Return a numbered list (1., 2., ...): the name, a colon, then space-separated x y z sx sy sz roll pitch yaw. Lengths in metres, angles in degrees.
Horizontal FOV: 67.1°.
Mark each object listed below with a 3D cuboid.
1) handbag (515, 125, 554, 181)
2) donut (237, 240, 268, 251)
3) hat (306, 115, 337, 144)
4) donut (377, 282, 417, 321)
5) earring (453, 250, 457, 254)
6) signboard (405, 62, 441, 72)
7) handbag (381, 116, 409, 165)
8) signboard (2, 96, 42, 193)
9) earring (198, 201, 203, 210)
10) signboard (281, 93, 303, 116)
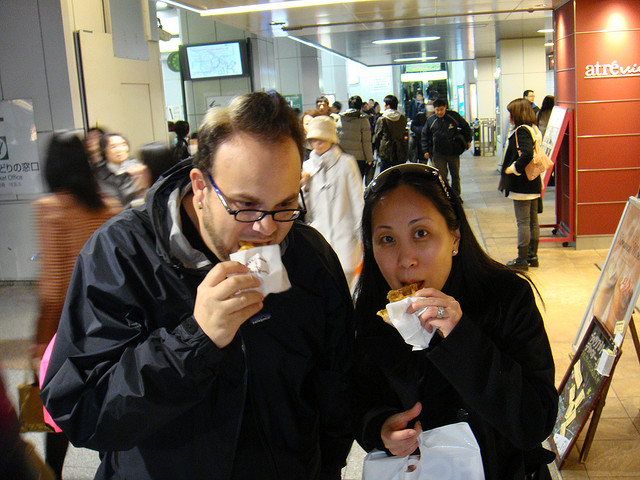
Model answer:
1. handbag: 3.120 -1.198 6.945 0.224 0.735 0.628 0 34 40
2. donut: -0.230 0.018 1.639 0.105 0.036 0.076 -7 14 -10
3. hat: 0.025 -1.230 5.375 0.253 0.292 0.364 7 16 7
4. donut: 0.298 0.236 1.838 0.109 0.053 0.143 -28 3 -33
5. earring: 0.544 0.048 1.947 0.020 0.018 0.005 -17 18 -42
6. signboard: 6.520 -11.016 31.039 2.182 0.384 4.099 -1 14 16
7. handbag: 1.845 -2.337 11.285 0.583 1.093 0.542 -11 15 -27
8. signboard: -4.307 -1.315 6.918 0.919 1.317 0.194 2 14 25
9. earring: -0.423 -0.120 1.697 0.004 0.030 0.031 -13 15 -32
10. signboard: -1.038 -5.500 19.401 0.641 0.739 1.370 -5 13 -1
